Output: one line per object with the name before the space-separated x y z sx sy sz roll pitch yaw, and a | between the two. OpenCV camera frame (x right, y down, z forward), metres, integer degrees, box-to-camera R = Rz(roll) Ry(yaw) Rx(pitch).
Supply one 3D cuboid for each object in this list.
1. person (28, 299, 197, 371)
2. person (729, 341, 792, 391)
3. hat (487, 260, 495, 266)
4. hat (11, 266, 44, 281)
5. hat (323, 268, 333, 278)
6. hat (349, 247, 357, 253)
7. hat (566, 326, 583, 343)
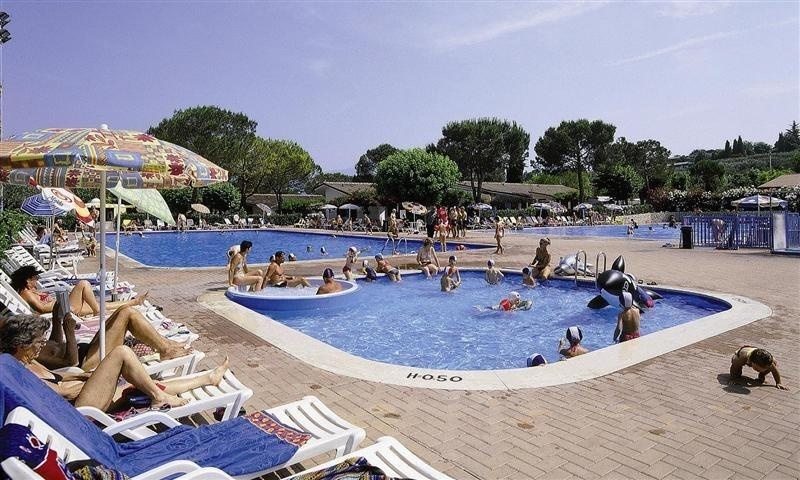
person | -4.204 1.347 7.072 1.940 1.027 0.814 -11 12 -20
person | 5.490 1.916 7.545 0.757 0.537 0.825 0 5 10
hat | 3.176 0.796 16.992 0.140 0.178 0.177 -5 23 -1
hat | -6.376 0.580 8.307 0.351 0.124 0.334 5 -9 -44
hat | -2.020 0.875 13.562 0.239 0.326 0.334 9 -27 -8
hat | -1.565 0.360 15.759 0.287 0.171 0.359 9 5 -25
hat | 3.416 1.858 9.482 0.218 0.342 0.407 5 7 28
